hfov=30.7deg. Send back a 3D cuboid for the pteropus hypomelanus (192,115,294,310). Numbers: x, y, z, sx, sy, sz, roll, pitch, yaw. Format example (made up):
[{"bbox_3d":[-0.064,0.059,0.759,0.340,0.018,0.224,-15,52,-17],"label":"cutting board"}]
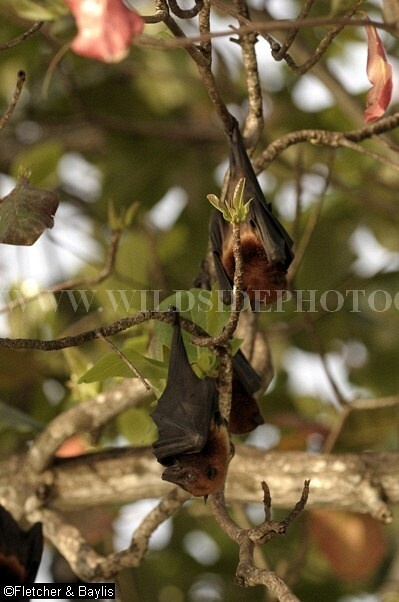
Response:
[{"bbox_3d":[0.071,-0.134,1.139,0.206,0.259,0.114,-4,11,-40],"label":"pteropus hypomelanus"}]
